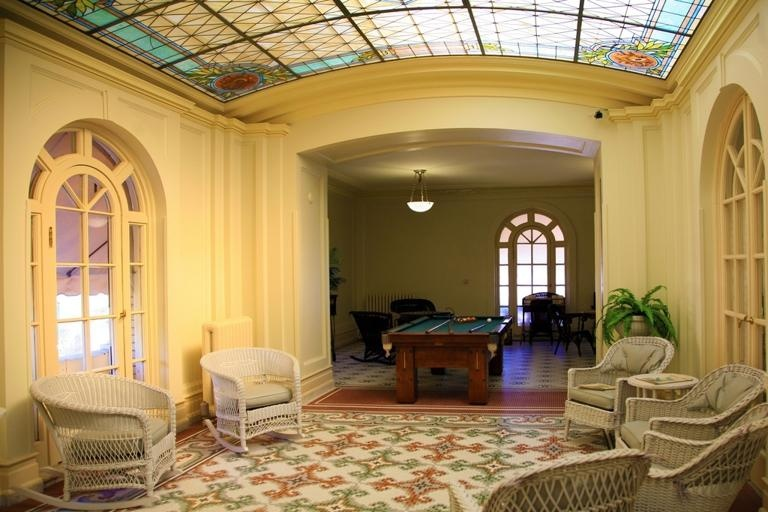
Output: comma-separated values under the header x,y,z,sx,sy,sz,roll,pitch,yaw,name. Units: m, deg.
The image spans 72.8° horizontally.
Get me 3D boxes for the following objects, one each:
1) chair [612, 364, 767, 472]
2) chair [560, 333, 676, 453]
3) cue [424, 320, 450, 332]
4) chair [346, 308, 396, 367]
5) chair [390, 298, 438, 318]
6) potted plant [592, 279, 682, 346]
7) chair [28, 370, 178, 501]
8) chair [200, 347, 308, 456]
x,y,z,sx,sy,sz,roll,pitch,yaw,name
2.625,1.246,4.324,1.194,0.836,0.892,-1,-6,10,chair
2.650,1.478,5.944,1.124,0.987,0.870,-3,-1,-15,chair
0.891,1.101,8.496,0.141,0.100,1.091,2,1,19,cue
-0.180,1.562,10.280,1.345,0.889,1.079,0,-12,-23,chair
0.659,1.161,12.228,0.575,0.622,0.618,1,-8,-44,chair
3.203,0.700,6.668,0.938,0.541,0.823,1,-4,15,potted plant
-2.453,1.643,5.130,1.355,0.894,1.207,1,-2,-3,chair
-1.667,1.663,6.337,1.207,0.864,1.226,0,-3,-43,chair
